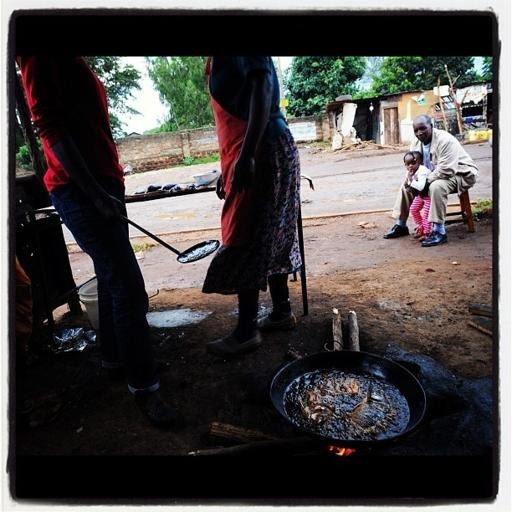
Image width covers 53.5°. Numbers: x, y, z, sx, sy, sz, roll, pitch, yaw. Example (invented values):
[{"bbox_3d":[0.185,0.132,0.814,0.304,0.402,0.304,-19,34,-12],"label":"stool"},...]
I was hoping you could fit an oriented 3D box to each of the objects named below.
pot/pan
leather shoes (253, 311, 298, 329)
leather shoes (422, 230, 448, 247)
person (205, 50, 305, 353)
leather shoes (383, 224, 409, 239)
[{"bbox_3d":[0.498,0.774,2.807,0.808,0.308,0.545,-4,14,8],"label":"pot/pan"},{"bbox_3d":[0.141,0.447,3.545,0.289,0.120,0.106,-1,4,-1],"label":"leather shoes"},{"bbox_3d":[1.680,-0.152,4.766,0.252,0.105,0.104,-5,6,-2],"label":"leather shoes"},{"bbox_3d":[-0.055,-0.527,3.184,0.646,2.168,0.699,-1,9,6],"label":"person"},{"bbox_3d":[1.460,-0.242,5.253,0.323,0.135,0.107,-2,8,-16],"label":"leather shoes"}]
